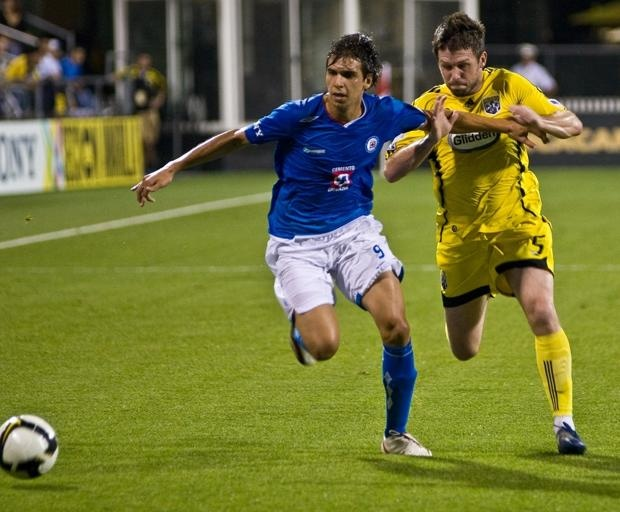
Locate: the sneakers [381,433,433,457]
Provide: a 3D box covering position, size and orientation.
[{"bbox_3d":[0.462,0.915,4.665,0.256,0.092,0.095,2,4,8],"label":"sneakers"}]

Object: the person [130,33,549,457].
[{"bbox_3d":[0.046,-0.079,4.802,1.099,2.025,0.625,0,9,6],"label":"person"}]

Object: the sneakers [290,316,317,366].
[{"bbox_3d":[-0.054,0.435,4.879,0.172,0.219,0.090,-18,-4,-37],"label":"sneakers"}]

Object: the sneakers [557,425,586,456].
[{"bbox_3d":[1.241,0.891,4.604,0.078,0.076,0.184,-6,21,-2],"label":"sneakers"}]
